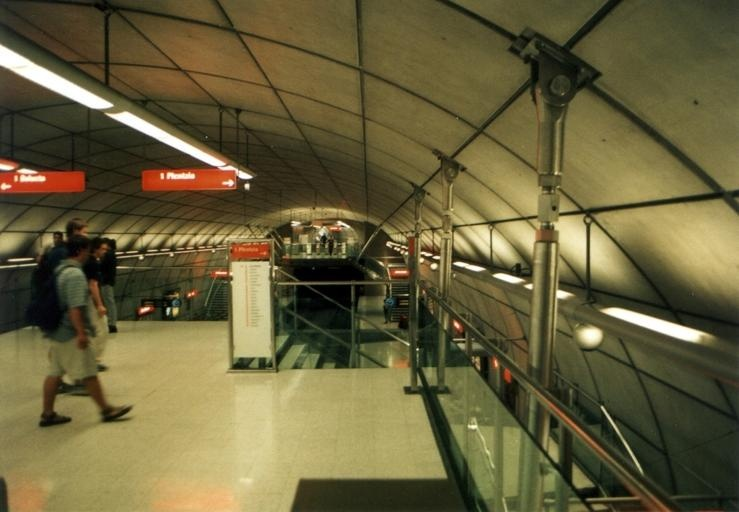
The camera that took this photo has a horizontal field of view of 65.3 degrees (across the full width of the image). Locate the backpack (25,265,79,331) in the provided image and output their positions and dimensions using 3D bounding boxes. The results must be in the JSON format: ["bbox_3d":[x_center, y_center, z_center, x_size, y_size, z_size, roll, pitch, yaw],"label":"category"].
[{"bbox_3d":[-5.126,0.763,9.207,0.637,1.000,0.269,-1,-3,30],"label":"backpack"}]

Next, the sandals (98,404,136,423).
[{"bbox_3d":[-4.311,2.720,9.902,0.587,0.203,0.196,-7,-4,-14],"label":"sandals"}]

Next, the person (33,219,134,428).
[{"bbox_3d":[-5.063,1.141,9.683,1.380,3.457,1.199,0,-3,10],"label":"person"}]

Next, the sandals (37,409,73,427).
[{"bbox_3d":[-5.248,2.766,9.782,0.575,0.207,0.203,2,-3,-19],"label":"sandals"}]
